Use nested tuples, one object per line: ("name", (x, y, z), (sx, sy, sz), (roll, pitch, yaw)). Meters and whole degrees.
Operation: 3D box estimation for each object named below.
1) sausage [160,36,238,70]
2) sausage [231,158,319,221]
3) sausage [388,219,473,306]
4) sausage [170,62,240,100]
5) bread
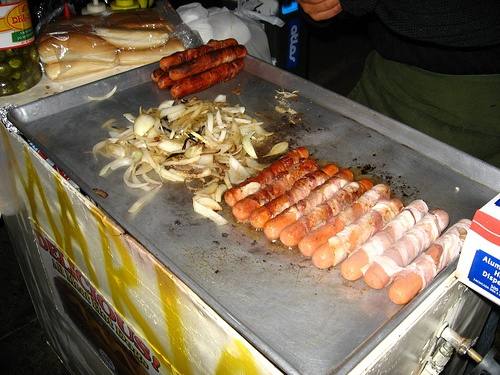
("sausage", (-0.268, -0.845, 2.389), (0.613, 0.115, 0.112), (-31, 61, -26))
("sausage", (0.121, 0.018, 1.710), (0.397, 0.098, 0.098), (-32, 86, -16))
("sausage", (0.690, 0.301, 1.380), (0.087, 0.097, 0.392), (34, 48, 29))
("sausage", (-0.314, -0.698, 2.328), (0.317, 0.073, 0.074), (-29, 50, -29))
("bread", (-0.991, -0.978, 2.561), (0.779, 0.208, 0.512), (-15, 63, -24))
